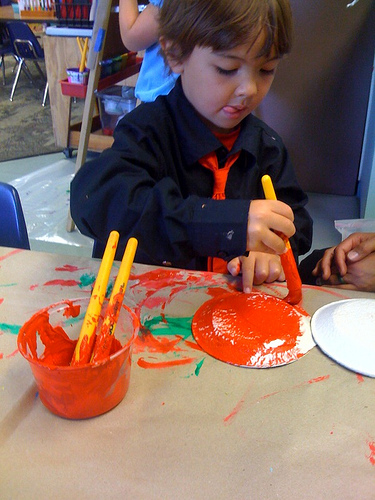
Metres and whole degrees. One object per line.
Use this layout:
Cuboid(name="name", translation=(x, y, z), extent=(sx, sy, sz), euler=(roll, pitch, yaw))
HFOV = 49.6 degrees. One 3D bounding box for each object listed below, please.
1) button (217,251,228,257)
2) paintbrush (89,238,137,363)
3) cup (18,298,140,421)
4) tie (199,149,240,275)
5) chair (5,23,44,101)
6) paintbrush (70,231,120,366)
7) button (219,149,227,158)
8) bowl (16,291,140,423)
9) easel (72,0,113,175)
Cuboid(name="button", translation=(0.055, 0.007, 0.649), extent=(0.010, 0.010, 0.003), euler=(11, 54, 4))
Cuboid(name="paintbrush", translation=(-0.090, 0.066, 0.498), extent=(0.023, 0.168, 0.024), euler=(15, -5, 19))
Cuboid(name="cup", translation=(-0.124, 0.126, 0.462), extent=(0.134, 0.081, 0.131), euler=(2, 22, -1))
Cuboid(name="tie", translation=(0.067, -0.095, 0.834), extent=(0.085, 0.240, 0.025), euler=(-1, -19, 8))
Cuboid(name="chair", translation=(-1.258, -1.430, 3.158), extent=(0.269, 0.516, 0.491), euler=(-6, 21, -21))
Cuboid(name="paintbrush", translation=(-0.120, 0.063, 0.528), extent=(0.028, 0.185, 0.026), euler=(14, -6, 13))
Cuboid(name="button", translation=(0.074, -0.204, 0.857), extent=(0.014, 0.014, 0.005), euler=(-1, 16, -5))
Cuboid(name="bowl", translation=(-0.127, 0.126, 0.459), extent=(0.128, 0.080, 0.128), euler=(3, 23, -1))
Cuboid(name="easel", translation=(-0.398, -0.642, 1.694), extent=(0.139, 0.658, 0.301), euler=(-8, 22, -24))
